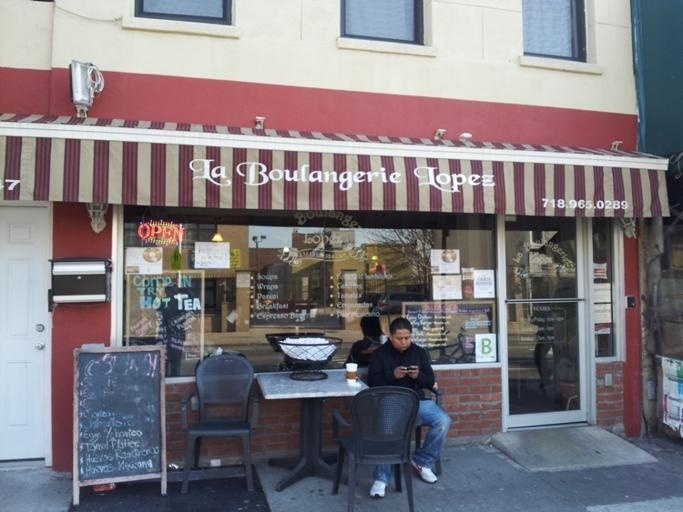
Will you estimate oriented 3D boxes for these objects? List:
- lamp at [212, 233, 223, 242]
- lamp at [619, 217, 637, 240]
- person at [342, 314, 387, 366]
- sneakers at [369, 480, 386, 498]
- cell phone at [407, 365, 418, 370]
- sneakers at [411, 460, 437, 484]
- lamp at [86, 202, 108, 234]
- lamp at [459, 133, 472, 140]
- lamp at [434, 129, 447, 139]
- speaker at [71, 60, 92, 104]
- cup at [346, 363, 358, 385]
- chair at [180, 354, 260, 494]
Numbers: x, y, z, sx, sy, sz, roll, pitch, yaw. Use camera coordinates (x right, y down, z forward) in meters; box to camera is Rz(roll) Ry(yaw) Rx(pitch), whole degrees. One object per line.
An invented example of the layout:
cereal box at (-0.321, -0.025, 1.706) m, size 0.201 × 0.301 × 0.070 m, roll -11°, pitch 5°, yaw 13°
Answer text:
lamp at (-1.592, -0.241, 9.612) m, size 0.089 × 0.105 × 0.101 m, roll -1°, pitch 7°, yaw -14°
lamp at (4.030, -0.402, 10.526) m, size 0.154 × 0.333 × 0.107 m, roll -5°, pitch 13°, yaw 13°
person at (0.270, 1.099, 9.806) m, size 0.517 × 0.865 × 0.315 m, roll 5°, pitch 5°, yaw -6°
sneakers at (0.415, 2.683, 8.681) m, size 0.125 × 0.117 × 0.260 m, roll 0°, pitch -10°, yaw 6°
cell phone at (0.838, 1.314, 8.908) m, size 0.112 × 0.040 × 0.115 m, roll -3°, pitch -2°, yaw -5°
sneakers at (1.004, 2.600, 9.119) m, size 0.131 × 0.165 × 0.353 m, roll -1°, pitch 6°, yaw -40°
lamp at (-2.985, -0.475, 9.177) m, size 0.295 × 0.386 × 0.314 m, roll 0°, pitch -1°, yaw 16°
lamp at (1.640, -1.600, 10.006) m, size 0.115 × 0.053 × 0.166 m, roll 0°, pitch -2°, yaw -1°
lamp at (1.319, -1.634, 10.040) m, size 0.134 × 0.157 × 0.153 m, roll -1°, pitch -2°, yaw 34°
speaker at (-3.130, -2.059, 9.023) m, size 0.240 × 0.483 × 0.191 m, roll -2°, pitch -3°, yaw -26°
cup at (0.107, 1.434, 9.213) m, size 0.173 × 0.264 × 0.181 m, roll 0°, pitch -7°, yaw 0°
chair at (-1.488, 1.990, 9.128) m, size 0.919 × 1.575 × 0.866 m, roll -2°, pitch -2°, yaw -8°
